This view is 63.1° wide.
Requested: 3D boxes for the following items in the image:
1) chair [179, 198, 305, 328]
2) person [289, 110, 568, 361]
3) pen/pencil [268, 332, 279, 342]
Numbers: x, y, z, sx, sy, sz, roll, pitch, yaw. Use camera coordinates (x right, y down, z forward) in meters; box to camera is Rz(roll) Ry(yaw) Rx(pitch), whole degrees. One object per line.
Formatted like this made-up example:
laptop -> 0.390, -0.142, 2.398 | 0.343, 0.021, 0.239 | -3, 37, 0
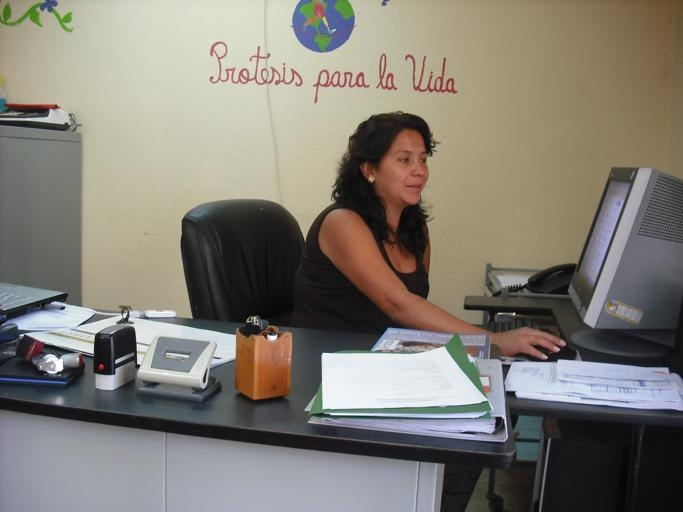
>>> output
chair -> -0.399, 0.024, 2.321 | 0.445, 0.688, 0.492 | -2, 2, -39
person -> 0.292, -0.097, 2.077 | 0.912, 0.865, 0.554 | 5, 6, 32
pen/pencil -> -0.148, 0.175, 1.194 | 0.018, 0.012, 0.026 | 2, -2, -11
